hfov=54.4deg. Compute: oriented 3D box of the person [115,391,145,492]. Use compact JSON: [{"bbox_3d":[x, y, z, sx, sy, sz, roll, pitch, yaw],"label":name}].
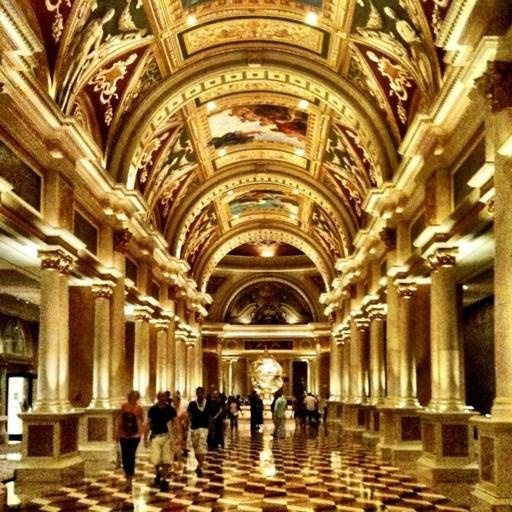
[{"bbox_3d":[-2.306,3.341,9.086,0.438,1.699,0.811,7,-20,-20],"label":"person"}]
